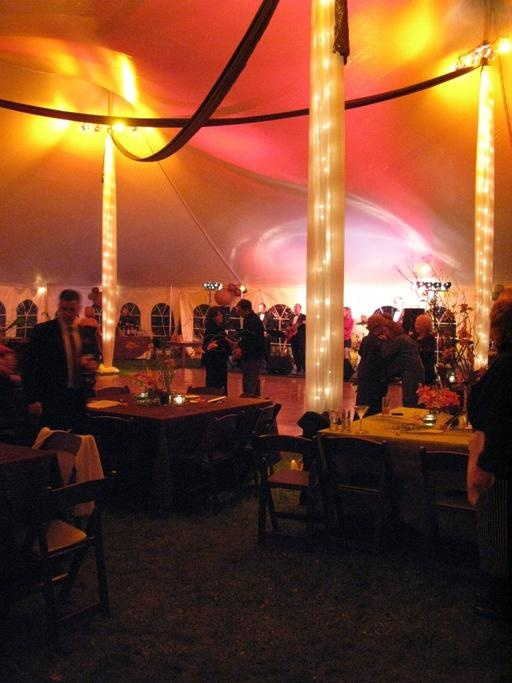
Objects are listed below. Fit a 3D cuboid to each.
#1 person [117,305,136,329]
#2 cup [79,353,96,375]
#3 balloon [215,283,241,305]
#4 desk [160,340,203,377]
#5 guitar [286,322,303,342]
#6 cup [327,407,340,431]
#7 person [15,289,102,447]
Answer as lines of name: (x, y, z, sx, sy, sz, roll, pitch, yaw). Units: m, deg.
person: (-4.324, -0.852, 19.234, 0.593, 0.895, 2.056, 0, 1, -12)
cup: (-1.087, 0.143, 3.692, 0.109, 0.150, 0.112, -3, 5, 0)
balloon: (-0.678, -1.119, 13.946, 0.428, 0.429, 1.077, 18, 2, 0)
desk: (-2.137, 0.574, 17.098, 1.090, 0.699, 1.457, 0, 3, -32)
guitar: (0.992, -0.229, 14.675, 0.191, 0.192, 0.570, 2, -41, -19)
cup: (0.500, 0.520, 3.774, 0.113, 0.188, 0.112, 0, -1, 0)
person: (-1.261, 0.123, 3.680, 0.463, 0.911, 0.230, 0, 1, -21)
